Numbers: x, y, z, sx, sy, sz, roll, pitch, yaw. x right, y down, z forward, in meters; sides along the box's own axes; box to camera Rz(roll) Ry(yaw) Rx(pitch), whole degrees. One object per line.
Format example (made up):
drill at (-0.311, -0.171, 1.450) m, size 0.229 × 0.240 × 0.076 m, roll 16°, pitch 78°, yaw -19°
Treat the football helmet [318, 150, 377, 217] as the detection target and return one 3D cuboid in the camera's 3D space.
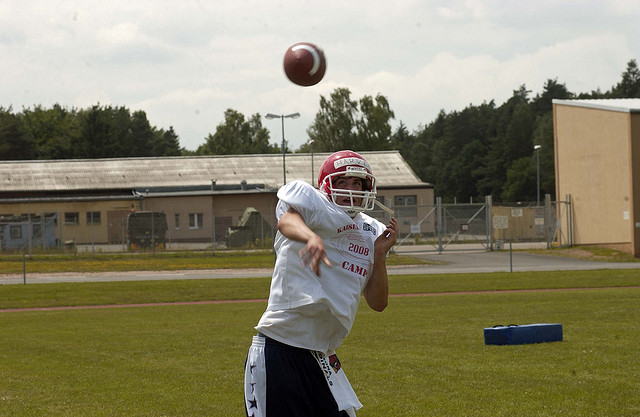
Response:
football helmet at (1.130, -0.973, 42.743) m, size 2.082 × 2.713 × 3.026 m, roll 4°, pitch -3°, yaw -10°
